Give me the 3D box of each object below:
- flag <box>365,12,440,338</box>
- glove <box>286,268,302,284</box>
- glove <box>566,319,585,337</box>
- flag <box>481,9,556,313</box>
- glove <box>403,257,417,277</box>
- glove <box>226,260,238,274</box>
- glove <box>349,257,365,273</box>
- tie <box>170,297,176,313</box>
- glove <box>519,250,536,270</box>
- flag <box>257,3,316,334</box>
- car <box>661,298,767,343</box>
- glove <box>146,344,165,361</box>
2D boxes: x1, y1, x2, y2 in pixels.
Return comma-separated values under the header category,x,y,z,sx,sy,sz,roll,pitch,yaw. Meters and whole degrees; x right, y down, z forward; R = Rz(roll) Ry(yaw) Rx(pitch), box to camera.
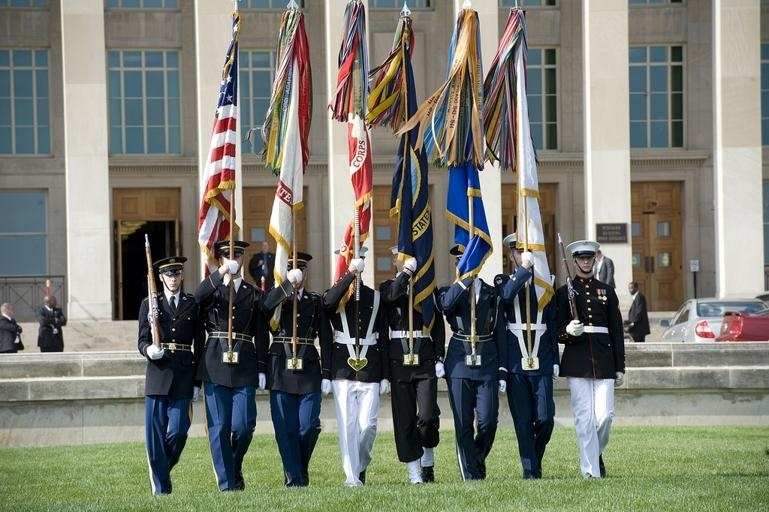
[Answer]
category,x,y,z,sx,sy,sz,roll,pitch,yaw
flag,1.268,-1.841,44.280,1.478,7.328,3.439,0,-2,6
glove,-1.989,0.416,43.259,0.310,0.319,0.313,3,4,36
glove,4.261,1.583,43.482,0.274,0.299,0.385,-31,13,-31
flag,3.027,-2.245,44.286,1.789,6.440,1.228,7,-4,-40
glove,0.570,0.194,43.434,0.285,0.408,0.227,6,-42,-10
glove,-3.358,0.219,43.169,0.202,0.305,0.090,6,1,-11
glove,-0.611,0.178,43.359,0.243,0.351,0.126,-2,9,-1
tie,-4.713,1.030,43.432,0.080,0.405,0.105,4,-13,-18
glove,3.176,0.065,43.507,0.249,0.364,0.117,-2,-12,-5
flag,-2.209,-2.464,44.674,1.672,6.340,1.009,-1,-3,-5
car,8.587,1.494,51.849,3.447,1.451,1.868,-4,-9,7
glove,-5.088,2.095,43.171,0.382,0.344,0.124,-2,0,-7
